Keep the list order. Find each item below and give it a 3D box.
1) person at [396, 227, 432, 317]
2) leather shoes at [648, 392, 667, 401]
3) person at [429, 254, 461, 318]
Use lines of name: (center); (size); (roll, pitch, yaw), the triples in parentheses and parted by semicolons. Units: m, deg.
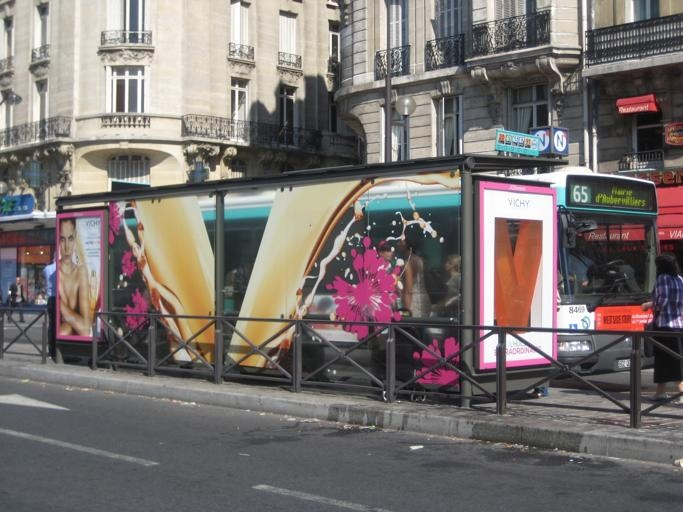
person: (1.314, 0.423, 24.133); (0.743, 1.399, 0.262); (9, 15, 39)
leather shoes: (5.378, 2.421, 22.528); (0.307, 0.133, 0.124); (-2, -3, 0)
person: (1.897, 0.547, 23.856); (0.522, 1.126, 0.237); (1, 12, 11)
